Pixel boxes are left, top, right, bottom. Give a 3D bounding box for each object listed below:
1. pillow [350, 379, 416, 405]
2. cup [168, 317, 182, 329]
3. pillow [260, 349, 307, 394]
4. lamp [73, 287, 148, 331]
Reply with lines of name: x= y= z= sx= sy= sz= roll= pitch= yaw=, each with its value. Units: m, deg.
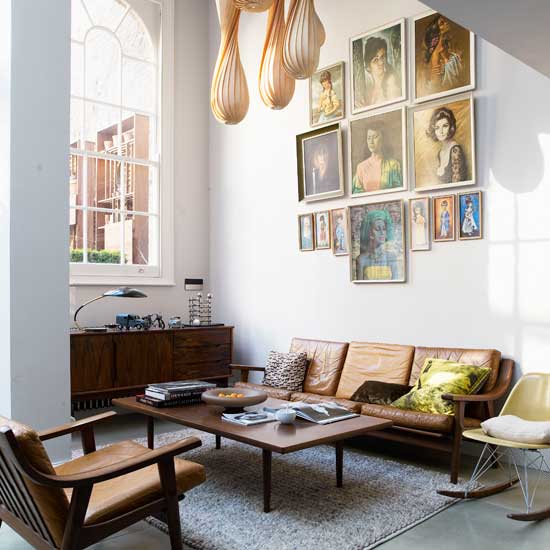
pillow: x=0.805 y=0.911 z=3.709 sx=0.214 sy=0.078 sz=0.246 roll=-11 pitch=3 yaw=-44
cup: x=-1.143 y=0.523 z=5.370 sx=0.166 sy=0.160 sz=0.127 roll=2 pitch=1 yaw=-5
pillow: x=0.100 y=0.925 z=4.571 sx=0.425 sy=0.212 sz=0.376 roll=1 pitch=47 yaw=32
lamp: x=-1.699 y=0.313 z=4.812 sx=0.625 sy=0.452 sz=1.010 roll=2 pitch=-5 yaw=-24
